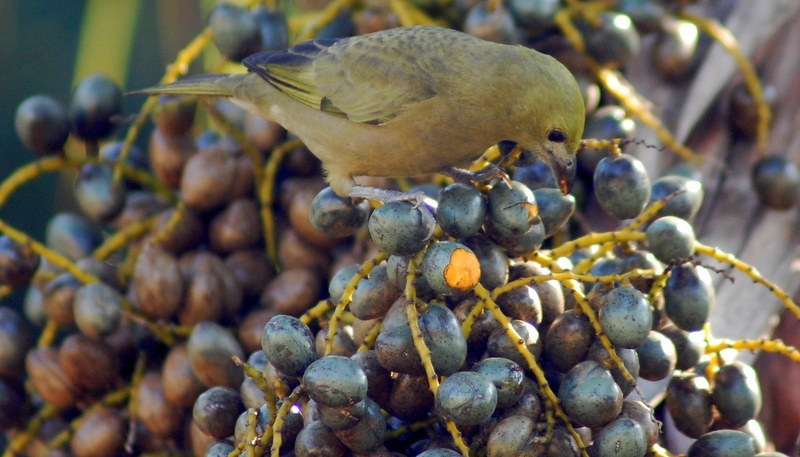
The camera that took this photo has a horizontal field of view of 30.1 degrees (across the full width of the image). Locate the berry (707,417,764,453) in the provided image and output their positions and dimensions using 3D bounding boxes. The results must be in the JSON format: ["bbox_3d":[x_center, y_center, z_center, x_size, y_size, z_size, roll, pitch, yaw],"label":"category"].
[{"bbox_3d":[0.895,0.516,3.829,0.068,0.085,0.057,4,3,42],"label":"berry"}]

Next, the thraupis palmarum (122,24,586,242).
[{"bbox_3d":[-0.145,-0.350,4.210,1.286,0.557,0.450,16,23,13],"label":"thraupis palmarum"}]

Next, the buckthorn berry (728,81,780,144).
[{"bbox_3d":[1.011,-0.333,4.295,0.132,0.150,0.071,18,36,21],"label":"buckthorn berry"}]
